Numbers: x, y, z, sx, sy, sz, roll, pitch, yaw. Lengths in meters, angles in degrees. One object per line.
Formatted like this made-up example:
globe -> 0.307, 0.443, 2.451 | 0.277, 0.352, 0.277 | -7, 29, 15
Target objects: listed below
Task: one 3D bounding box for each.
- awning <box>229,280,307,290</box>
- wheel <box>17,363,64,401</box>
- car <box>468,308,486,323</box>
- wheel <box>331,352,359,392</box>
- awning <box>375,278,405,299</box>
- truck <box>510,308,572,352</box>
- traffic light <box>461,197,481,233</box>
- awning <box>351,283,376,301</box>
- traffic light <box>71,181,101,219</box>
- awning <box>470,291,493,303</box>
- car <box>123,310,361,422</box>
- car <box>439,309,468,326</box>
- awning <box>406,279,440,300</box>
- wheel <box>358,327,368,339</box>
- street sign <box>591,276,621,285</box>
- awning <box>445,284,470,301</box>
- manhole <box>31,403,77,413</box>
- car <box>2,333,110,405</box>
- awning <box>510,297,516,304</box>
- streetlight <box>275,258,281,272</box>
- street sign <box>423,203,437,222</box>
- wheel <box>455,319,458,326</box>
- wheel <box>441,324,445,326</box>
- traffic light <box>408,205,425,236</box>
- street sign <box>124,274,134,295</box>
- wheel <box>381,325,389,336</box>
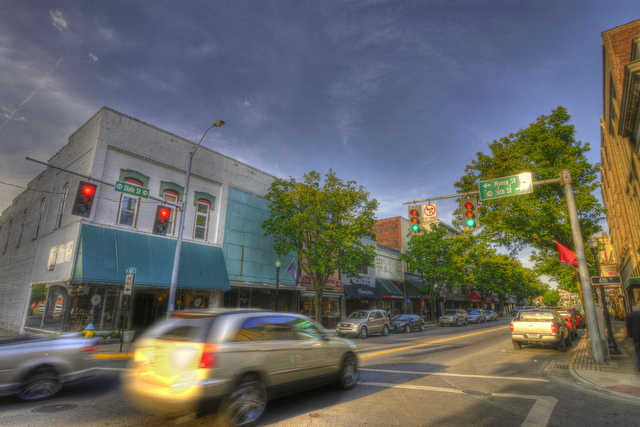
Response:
awning -> -4.025, 5.307, 27.090 | 1.072, 0.873, 6.700 | -5, -10, 36
wheel -> -8.217, 4.852, 10.456 | 1.168, 1.048, 0.844 | 0, -3, -33
car -> 19.263, 12.309, 43.864 | 0.906, 1.586, 3.407 | -7, -11, 43
wheel -> 0.724, 4.811, 11.040 | 0.461, 1.154, 1.218 | -10, -13, 39
awning -> 7.915, 8.505, 41.257 | 1.913, 2.414, 4.749 | -5, -10, 34
truck -> 11.265, 5.797, 18.031 | 3.068, 2.037, 1.846 | 6, -10, -34
traffic light -> 6.976, -0.064, 16.585 | 0.732, 1.562, 1.219 | -3, -9, 21
awning -> 4.638, 7.902, 37.108 | 1.341, 1.653, 3.383 | -4, -9, 28
traffic light -> -10.600, -0.700, 16.061 | 0.534, 1.507, 0.642 | -7, -11, 42
awning -> 31.199, 15.878, 68.853 | 1.530, 2.979, 16.857 | -4, -10, 32
car -> -1.633, 4.042, 10.276 | 2.744, 1.951, 6.067 | -18, -22, 42
car -> 15.009, 11.391, 39.864 | 3.608, 1.664, 1.434 | 6, -10, -35
awning -> 12.554, 9.676, 46.281 | 2.134, 2.472, 4.670 | -3, -9, 26
wheel -> 3.087, 8.440, 25.840 | 0.295, 0.861, 0.907 | -11, -14, 35
street sign -> 12.735, 2.915, 15.920 | 1.021, 0.380, 0.416 | -6, -10, 36
awning -> 22.523, 12.778, 58.248 | 2.307, 2.550, 12.138 | -4, -10, 29
manhole -> -7.329, 5.281, 9.899 | 1.109, 0.076, 0.530 | 0, -9, 0
car -> -8.217, 4.552, 10.974 | 3.190, 1.055, 1.579 | 4, -12, -24
awning -> 47.102, 20.969, 87.391 | 0.757, 1.588, 4.516 | -4, -10, 31
streetlight -> -2.871, 3.532, 24.402 | 0.240, 0.710, 1.018 | 2, -8, -13
street sign -> 4.974, -0.018, 16.065 | 0.812, 1.019, 0.107 | -6, -25, 26
wheel -> 15.116, 11.790, 39.552 | 0.283, 0.695, 0.792 | -2, -9, 20
wheel -> 13.650, 12.099, 39.615 | 0.324, 0.232, 0.203 | 12, -20, -40
traffic light -> 4.675, 0.222, 17.357 | 0.618, 1.249, 1.150 | -1, -8, 15
street sign -> -9.513, 3.461, 17.807 | 0.326, 0.988, 0.713 | 6, -10, -35
wheel -> 5.026, 8.855, 27.691 | 0.275, 0.802, 0.838 | 3, -15, 29
